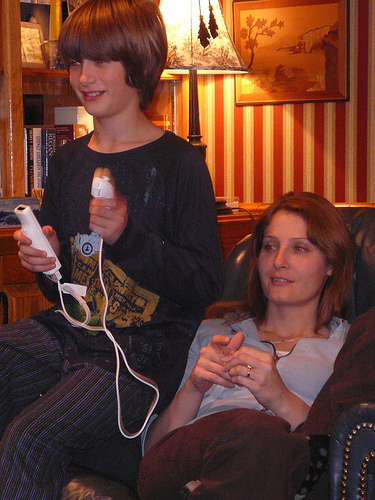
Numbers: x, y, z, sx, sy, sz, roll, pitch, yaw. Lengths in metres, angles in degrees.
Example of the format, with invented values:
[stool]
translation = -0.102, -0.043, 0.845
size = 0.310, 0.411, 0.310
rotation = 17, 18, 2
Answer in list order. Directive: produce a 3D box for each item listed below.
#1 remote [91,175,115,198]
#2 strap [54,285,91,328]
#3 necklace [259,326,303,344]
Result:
[remote]
translation = -0.128, -0.094, 0.646
size = 0.026, 0.033, 0.035
rotation = 12, 17, 31
[strap]
translation = -0.206, 0.106, 0.817
size = 0.049, 0.085, 0.015
rotation = -46, -10, 27
[necklace]
translation = 0.234, 0.217, 1.079
size = 0.137, 0.033, 0.029
rotation = 12, 8, -27
